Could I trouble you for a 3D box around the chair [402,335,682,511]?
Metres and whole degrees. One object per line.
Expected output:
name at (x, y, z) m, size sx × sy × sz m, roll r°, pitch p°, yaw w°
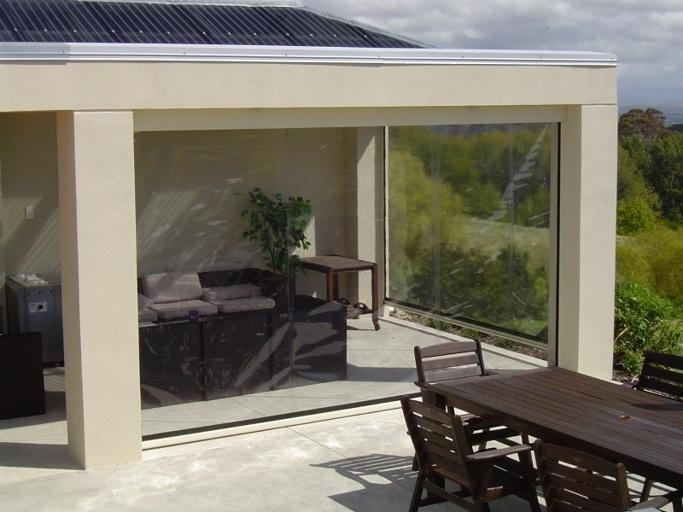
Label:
chair at (1.847, 1.429, 5.584) m, size 2.137 × 0.585 × 1.266 m, roll 10°, pitch 16°, yaw 44°
